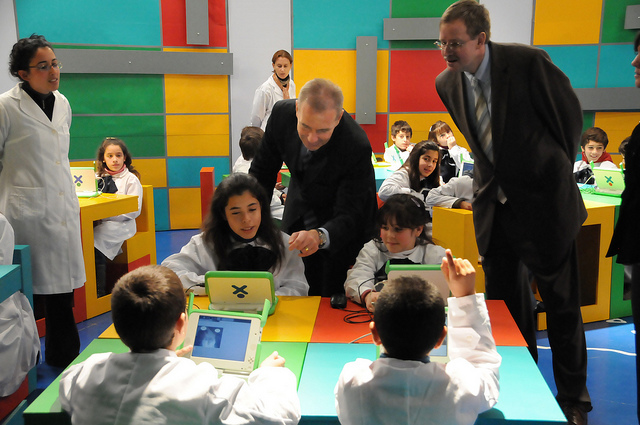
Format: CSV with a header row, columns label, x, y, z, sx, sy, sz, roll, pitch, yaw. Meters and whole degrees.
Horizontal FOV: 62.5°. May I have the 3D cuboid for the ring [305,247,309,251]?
label,x,y,z,sx,sy,sz,roll,pitch,yaw
ring,-0.075,0.218,3.109,0.022,0.019,0.003,0,10,5

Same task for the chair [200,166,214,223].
label,x,y,z,sx,sy,sz,roll,pitch,yaw
chair,-1.346,-0.134,6.396,0.159,0.736,0.180,3,14,8

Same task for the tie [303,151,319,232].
label,x,y,z,sx,sy,sz,roll,pitch,yaw
tie,-0.040,-0.125,3.415,0.096,0.491,0.125,2,10,1

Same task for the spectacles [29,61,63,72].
label,x,y,z,sx,sy,sz,roll,pitch,yaw
spectacles,-1.846,-0.985,3.607,0.112,0.070,0.230,2,11,18

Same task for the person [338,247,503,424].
label,x,y,z,sx,sy,sz,roll,pitch,yaw
person,0.472,0.586,2.434,0.558,1.245,0.492,2,44,7

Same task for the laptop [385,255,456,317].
label,x,y,z,sx,sy,sz,roll,pitch,yaw
laptop,0.544,0.456,2.845,0.394,0.227,0.261,-4,39,17

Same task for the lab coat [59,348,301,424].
label,x,y,z,sx,sy,sz,roll,pitch,yaw
lab coat,-0.567,0.748,2.211,0.947,0.349,0.233,-2,10,-8

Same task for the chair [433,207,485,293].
label,x,y,z,sx,sy,sz,roll,pitch,yaw
chair,1.214,0.320,4.585,0.383,0.669,0.701,-1,6,-16

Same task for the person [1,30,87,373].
label,x,y,z,sx,sy,sz,roll,pitch,yaw
person,-1.965,-0.008,3.739,0.474,2.389,0.500,-6,11,-24

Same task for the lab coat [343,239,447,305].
label,x,y,z,sx,sy,sz,roll,pitch,yaw
lab coat,0.489,0.353,3.505,0.726,0.357,0.542,2,17,10

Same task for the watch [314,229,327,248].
label,x,y,z,sx,sy,sz,roll,pitch,yaw
watch,0.016,0.158,3.219,0.064,0.097,0.086,-1,13,-9

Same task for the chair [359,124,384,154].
label,x,y,z,sx,sy,sz,roll,pitch,yaw
chair,0.717,-1.110,8.000,0.503,0.484,0.270,-5,1,6

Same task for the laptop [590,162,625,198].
label,x,y,z,sx,sy,sz,roll,pitch,yaw
laptop,2.639,-0.282,4.844,0.352,0.263,0.320,-5,-23,42

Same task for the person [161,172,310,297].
label,x,y,z,sx,sy,sz,roll,pitch,yaw
person,-0.508,0.210,3.293,0.935,0.828,0.508,1,5,-11
